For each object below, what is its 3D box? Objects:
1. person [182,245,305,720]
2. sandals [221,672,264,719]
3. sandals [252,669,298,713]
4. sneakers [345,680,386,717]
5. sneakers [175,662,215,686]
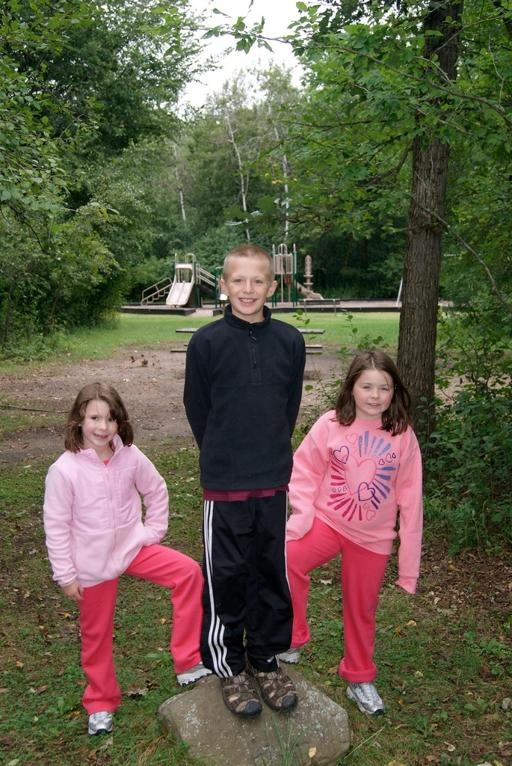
[{"bbox_3d":[-0.014,0.348,2.602,0.478,1.713,0.546,0,11,-13],"label":"person"},{"bbox_3d":[-0.052,1.160,2.561,0.122,0.115,0.180,-1,10,-15],"label":"sandals"},{"bbox_3d":[0.072,1.149,2.597,0.091,0.072,0.183,-1,4,-33],"label":"sandals"},{"bbox_3d":[0.462,1.330,2.917,0.078,0.081,0.177,0,-3,-28],"label":"sneakers"},{"bbox_3d":[-0.263,1.220,2.952,0.190,0.084,0.077,1,-3,-39],"label":"sneakers"}]
